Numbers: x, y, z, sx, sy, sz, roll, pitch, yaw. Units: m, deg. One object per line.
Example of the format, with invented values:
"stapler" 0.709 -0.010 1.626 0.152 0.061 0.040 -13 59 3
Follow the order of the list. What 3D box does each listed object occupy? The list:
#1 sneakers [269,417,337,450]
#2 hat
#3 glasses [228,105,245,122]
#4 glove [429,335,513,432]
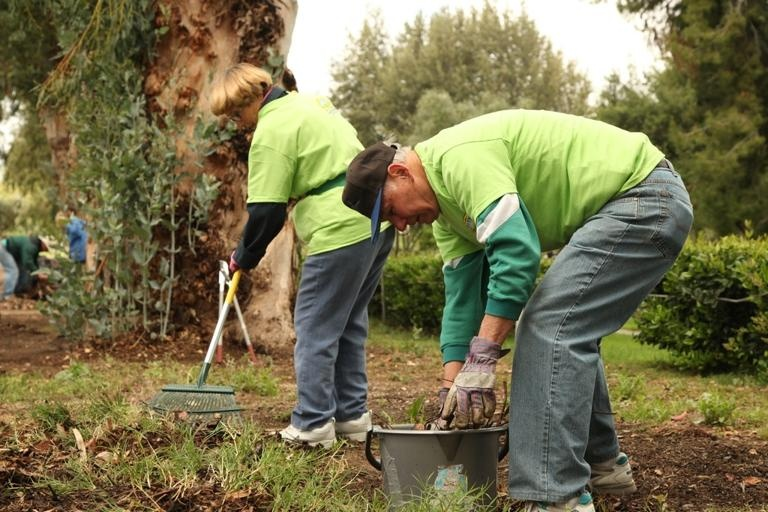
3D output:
"sneakers" -0.617 1.508 6.778 0.557 0.204 0.234 1 0 18
"hat" -0.113 -0.491 6.060 0.331 0.639 0.420 9 2 -4
"glasses" -1.298 -1.250 7.129 0.099 0.106 0.080 7 2 11
"glove" 0.643 0.948 5.941 0.477 0.702 0.205 5 -7 16
